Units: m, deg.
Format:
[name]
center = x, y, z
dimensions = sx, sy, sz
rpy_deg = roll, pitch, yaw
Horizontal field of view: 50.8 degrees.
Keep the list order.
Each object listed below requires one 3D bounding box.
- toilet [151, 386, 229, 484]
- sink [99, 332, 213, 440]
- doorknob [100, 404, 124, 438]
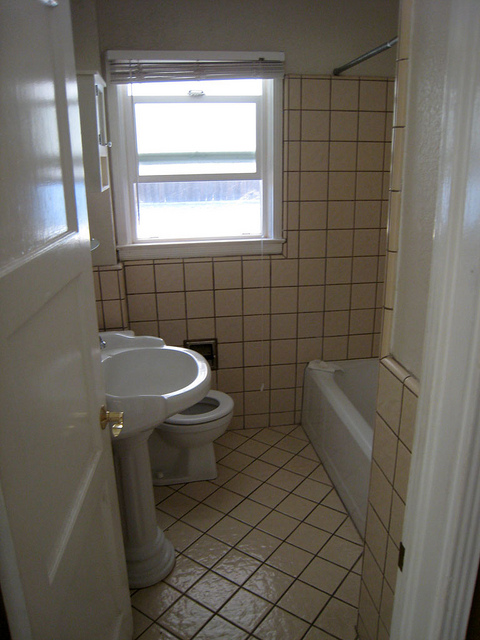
[toilet]
center = -0.294, 0.561, 2.497
dimensions = 0.504, 0.356, 0.403
rpy_deg = 0, 8, -40
[sink]
center = -0.321, 0.301, 1.794
dimensions = 0.416, 0.402, 0.492
rpy_deg = -1, 14, -2
[doorknob]
center = -0.299, 0.233, 1.177
dimensions = 0.050, 0.082, 0.088
rpy_deg = -9, 21, -14
